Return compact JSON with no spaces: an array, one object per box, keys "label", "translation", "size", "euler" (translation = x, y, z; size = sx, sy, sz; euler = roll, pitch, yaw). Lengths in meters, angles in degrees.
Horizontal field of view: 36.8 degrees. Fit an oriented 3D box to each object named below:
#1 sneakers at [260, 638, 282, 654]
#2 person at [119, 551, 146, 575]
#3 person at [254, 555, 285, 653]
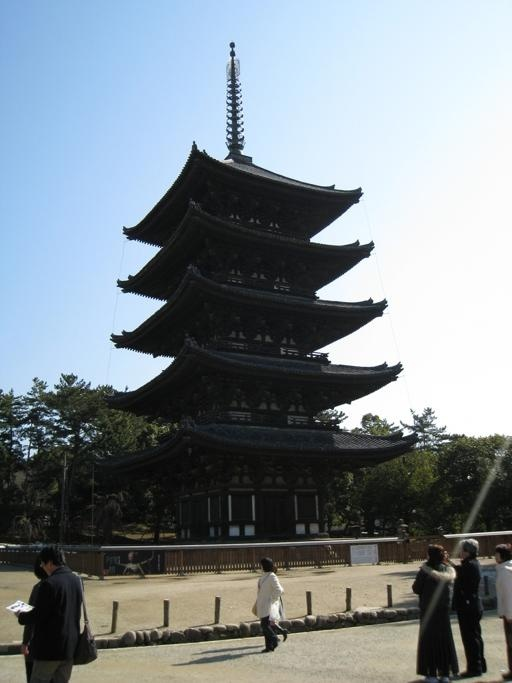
[{"label":"sneakers","translation":[0.219,4.641,11.663],"size":[0.322,0.207,0.117],"euler":[18,-27,-9]},{"label":"person","translation":[-3.696,6.800,23.475],"size":[0.573,0.752,0.579],"euler":[-21,-29,39]},{"label":"person","translation":[0.205,4.066,11.902],"size":[0.471,1.355,0.768],"euler":[-3,-17,0]}]
